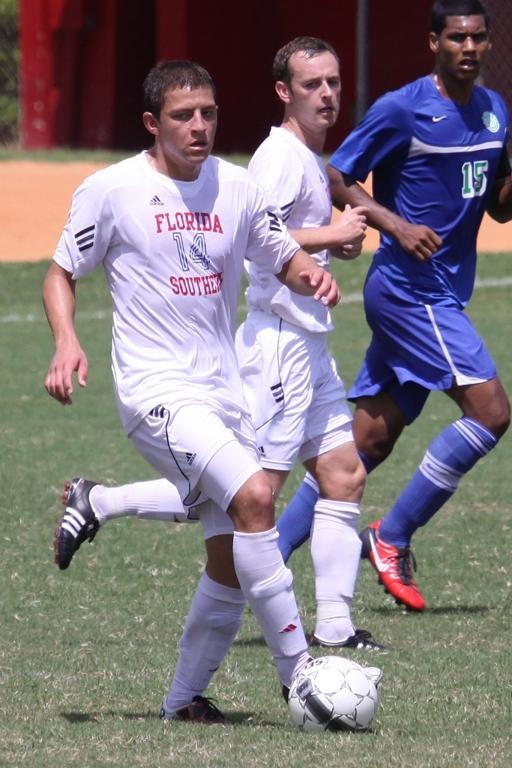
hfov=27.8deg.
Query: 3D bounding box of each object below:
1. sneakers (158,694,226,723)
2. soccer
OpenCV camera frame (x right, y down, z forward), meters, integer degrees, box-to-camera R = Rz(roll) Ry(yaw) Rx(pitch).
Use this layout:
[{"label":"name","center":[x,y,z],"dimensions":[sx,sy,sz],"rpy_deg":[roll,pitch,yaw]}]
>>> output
[{"label":"sneakers","center":[-0.153,0.805,2.560],"dimensions":[0.169,0.069,0.060],"rpy_deg":[1,-2,1]},{"label":"soccer","center":[0.157,0.728,2.475],"dimensions":[0.198,0.151,0.155],"rpy_deg":[4,-6,42]}]
